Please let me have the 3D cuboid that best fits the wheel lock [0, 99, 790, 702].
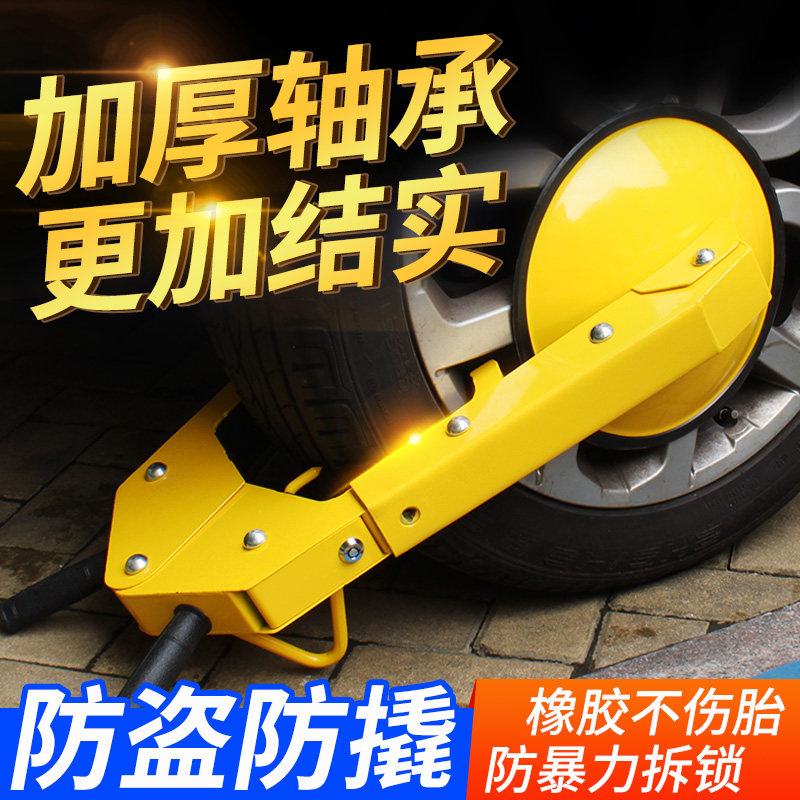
[{"bbox_3d":[0.225,0.046,1.513,0.710,1.202,0.378,61,10,14],"label":"wheel lock"}]
